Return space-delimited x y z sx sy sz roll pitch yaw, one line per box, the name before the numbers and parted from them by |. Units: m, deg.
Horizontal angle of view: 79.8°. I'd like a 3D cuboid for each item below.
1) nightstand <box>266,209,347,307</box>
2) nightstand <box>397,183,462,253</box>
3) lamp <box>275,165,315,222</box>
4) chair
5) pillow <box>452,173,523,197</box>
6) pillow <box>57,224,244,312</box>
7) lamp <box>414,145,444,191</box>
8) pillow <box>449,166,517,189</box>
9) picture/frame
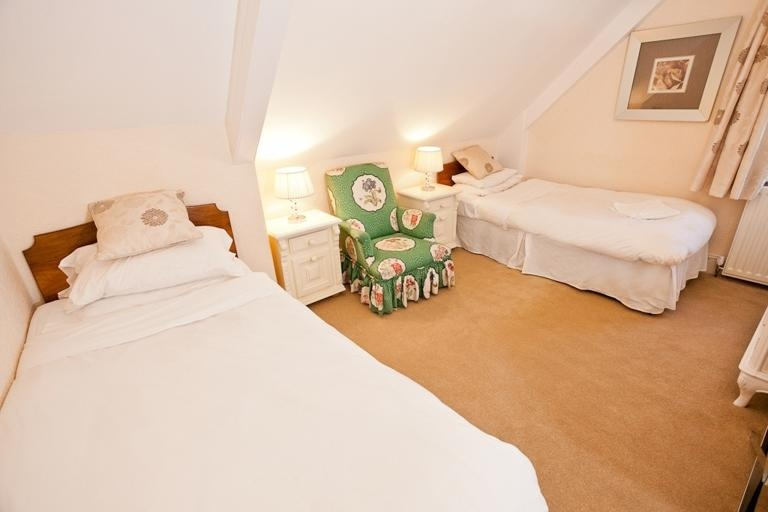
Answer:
nightstand | -0.718 0.047 4.088 0.660 0.694 0.524 -12 22 -19
nightstand | 0.464 -0.379 4.866 0.526 0.599 0.432 -18 25 -41
lamp | -0.766 -0.517 3.904 0.364 0.450 0.379 -12 22 -21
chair | -0.010 -0.198 4.202 1.149 0.961 0.956 26 39 35
pillow | 1.196 -0.759 4.989 0.517 0.085 0.319 -21 30 -40
pillow | -1.479 0.125 2.998 0.911 0.185 0.541 -13 46 -20
lamp | 0.447 -0.886 4.682 0.297 0.386 0.285 9 27 19
pillow | 1.049 -0.844 4.987 0.494 0.125 0.281 -22 32 -39
picture/frame | 2.663 -1.710 4.127 0.039 0.877 0.875 -19 43 -39
